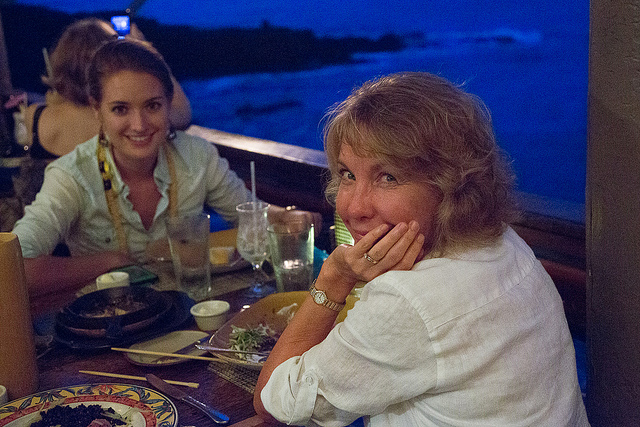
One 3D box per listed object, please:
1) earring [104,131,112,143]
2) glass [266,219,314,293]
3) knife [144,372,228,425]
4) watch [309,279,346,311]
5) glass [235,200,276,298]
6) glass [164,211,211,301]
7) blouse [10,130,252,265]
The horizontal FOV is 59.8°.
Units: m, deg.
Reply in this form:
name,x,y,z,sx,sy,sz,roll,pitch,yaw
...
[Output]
name,x,y,z,sx,sy,sz,roll,pitch,yaw
earring,-1.133,-0.408,2.974,0.015,0.054,0.057,-30,13,-23
glass,-0.108,0.143,2.015,0.155,0.265,0.156,-1,13,-4
knife,-0.361,0.499,1.493,0.036,0.013,0.239,-27,31,-36
watch,0.022,0.228,1.576,0.081,0.036,0.080,29,8,32
glass,-0.246,0.157,2.143,0.150,0.284,0.146,-5,-8,18
glass,-0.461,0.151,2.082,0.172,0.297,0.187,-6,14,-19
blouse,-1.022,-0.041,3.225,1.123,0.850,0.997,-7,22,-16
